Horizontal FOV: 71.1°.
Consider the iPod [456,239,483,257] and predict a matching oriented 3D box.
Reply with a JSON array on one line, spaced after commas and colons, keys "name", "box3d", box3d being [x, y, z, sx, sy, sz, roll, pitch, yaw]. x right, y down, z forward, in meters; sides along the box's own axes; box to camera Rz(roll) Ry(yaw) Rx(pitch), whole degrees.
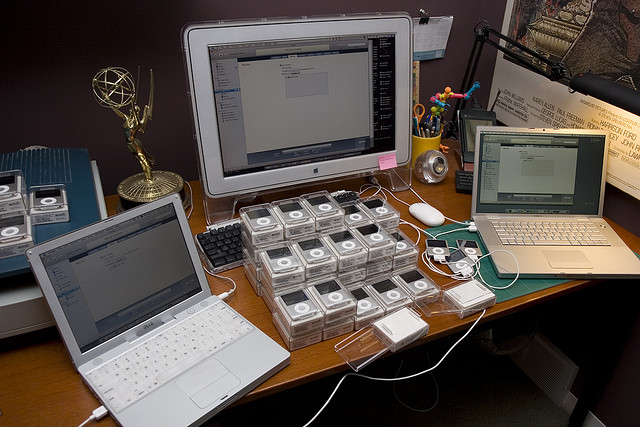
[{"name": "iPod", "box3d": [0.540, 0.127, 1.636, 0.098, 0.009, 0.119, 0, 34, -1]}]

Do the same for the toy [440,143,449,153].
[{"name": "toy", "box3d": [0.592, -0.316, 2.158, 0.043, 0.025, 0.018, 36, 6, 31]}]

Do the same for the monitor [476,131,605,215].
[{"name": "monitor", "box3d": [0.846, -0.146, 1.855, 0.525, 0.346, 0.305, 3, 22, 1]}]

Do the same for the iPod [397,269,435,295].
[{"name": "iPod", "box3d": [0.313, 0.209, 1.480, 0.109, 0.117, 0.023, -15, 27, 29]}]

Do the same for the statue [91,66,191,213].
[{"name": "statue", "box3d": [-0.708, -0.300, 1.740, 0.300, 0.526, 0.266, -14, 49, -28]}]

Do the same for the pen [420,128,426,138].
[{"name": "pen", "box3d": [0.452, -0.362, 1.995, 0.021, 0.035, 0.029, -14, 26, -14]}]

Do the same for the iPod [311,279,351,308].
[{"name": "iPod", "box3d": [0.033, 0.242, 1.367, 0.082, 0.035, 0.095, -18, 28, -21]}]

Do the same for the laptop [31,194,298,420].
[{"name": "laptop", "box3d": [-0.465, 0.335, 1.396, 0.588, 0.461, 0.659, -27, 45, -34]}]

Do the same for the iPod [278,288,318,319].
[{"name": "iPod", "box3d": [-0.066, 0.268, 1.339, 0.088, 0.036, 0.089, -16, 27, -18]}]

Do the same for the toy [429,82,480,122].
[{"name": "toy", "box3d": [0.625, -0.531, 2.110, 0.165, 0.250, 0.083, 29, 2, 38]}]

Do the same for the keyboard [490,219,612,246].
[{"name": "keyboard", "box3d": [0.852, 0.069, 1.682, 0.399, 0.090, 0.121, -6, 26, 2]}]

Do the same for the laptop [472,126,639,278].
[{"name": "laptop", "box3d": [0.844, -0.059, 1.632, 0.535, 0.476, 0.393, -6, 26, 3]}]

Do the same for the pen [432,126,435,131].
[{"name": "pen", "box3d": [0.502, -0.382, 2.004, 0.021, 0.020, 0.005, 0, -5, -5]}]

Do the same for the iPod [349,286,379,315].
[{"name": "iPod", "box3d": [0.135, 0.270, 1.418, 0.076, 0.040, 0.085, -13, 26, -12]}]

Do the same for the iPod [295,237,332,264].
[{"name": "iPod", "box3d": [-0.019, 0.114, 1.409, 0.081, 0.039, 0.095, -18, 28, -20]}]

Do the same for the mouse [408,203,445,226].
[{"name": "mouse", "box3d": [0.417, -0.002, 1.745, 0.083, 0.032, 0.107, -16, 34, -29]}]

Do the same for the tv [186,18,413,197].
[{"name": "tv", "box3d": [-0.082, -0.410, 1.629, 0.681, 0.492, 0.061, -10, 23, -16]}]
